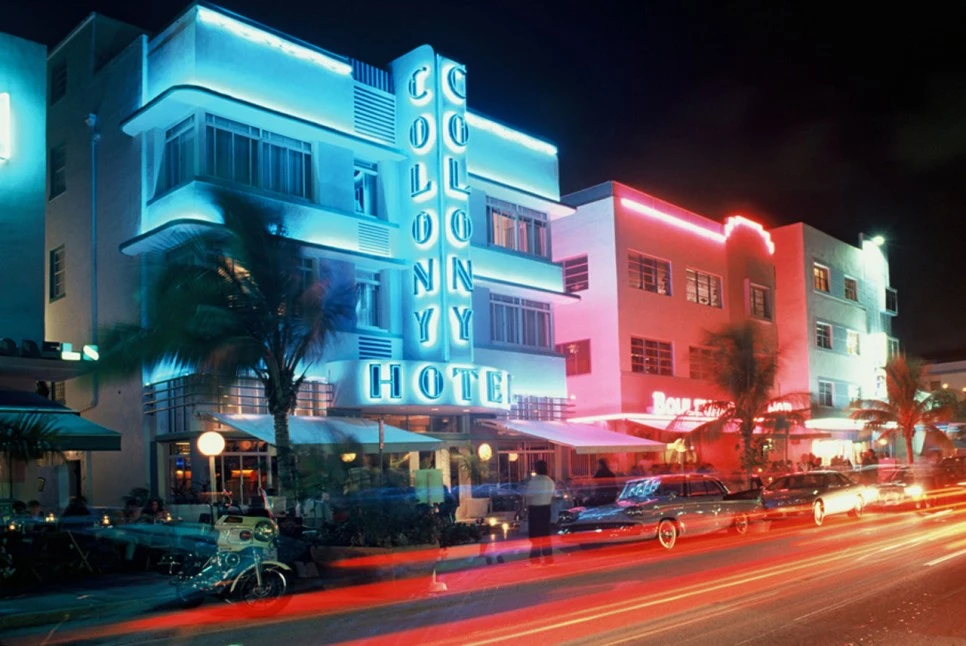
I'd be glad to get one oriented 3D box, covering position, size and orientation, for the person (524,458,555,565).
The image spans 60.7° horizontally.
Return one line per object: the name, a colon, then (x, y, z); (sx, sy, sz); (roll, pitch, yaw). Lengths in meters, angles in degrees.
person: (1.571, 5.076, 22.406); (0.713, 2.668, 1.287); (-3, -13, 2)
